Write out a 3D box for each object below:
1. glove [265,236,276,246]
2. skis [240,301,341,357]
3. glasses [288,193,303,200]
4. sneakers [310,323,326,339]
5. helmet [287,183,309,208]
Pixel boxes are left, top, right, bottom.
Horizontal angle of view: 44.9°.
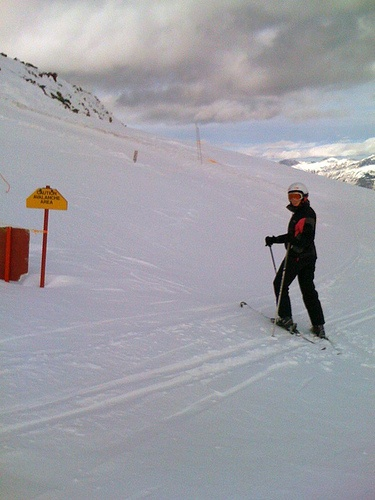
[{"bbox_3d":[0.976,-0.117,5.364,0.122,0.137,0.072,1,-11,18],"label":"glove"},{"bbox_3d":[1.181,0.927,5.211,0.141,0.158,1.230,-4,19,-26],"label":"skis"},{"bbox_3d":[1.231,-0.607,5.156,0.151,0.077,0.072,8,10,11],"label":"glasses"},{"bbox_3d":[1.502,0.923,5.168,0.110,0.125,0.255,5,10,-10],"label":"sneakers"},{"bbox_3d":[1.246,-0.629,5.150,0.239,0.268,0.304,1,7,40],"label":"helmet"}]
